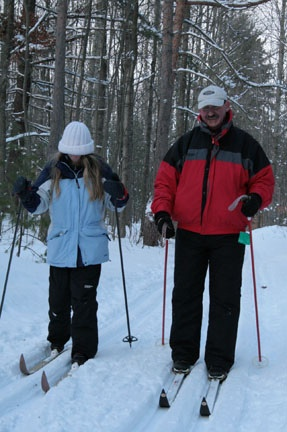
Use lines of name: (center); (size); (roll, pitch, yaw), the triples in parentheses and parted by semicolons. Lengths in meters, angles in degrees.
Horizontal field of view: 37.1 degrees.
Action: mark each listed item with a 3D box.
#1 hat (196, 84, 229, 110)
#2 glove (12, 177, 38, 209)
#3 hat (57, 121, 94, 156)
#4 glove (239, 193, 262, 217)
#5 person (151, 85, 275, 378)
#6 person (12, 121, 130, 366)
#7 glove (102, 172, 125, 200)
hat: (0.460, -0.801, 2.854); (0.191, 0.177, 0.202); (0, 3, 9)
glove: (-0.797, -0.144, 2.930); (0.159, 0.251, 0.197); (-1, 3, -11)
hat: (-0.477, -0.564, 3.062); (0.231, 0.220, 0.275); (10, 24, 14)
glove: (0.688, -0.049, 2.741); (0.054, 0.166, 0.109); (12, 8, -43)
person: (0.452, 0.083, 2.917); (0.831, 1.944, 0.451); (1, 3, 18)
person: (-0.487, 0.184, 3.050); (0.752, 1.728, 0.494); (0, 3, -2)
glove: (-0.213, -0.217, 3.121); (0.157, 0.202, 0.310); (0, 3, -6)
